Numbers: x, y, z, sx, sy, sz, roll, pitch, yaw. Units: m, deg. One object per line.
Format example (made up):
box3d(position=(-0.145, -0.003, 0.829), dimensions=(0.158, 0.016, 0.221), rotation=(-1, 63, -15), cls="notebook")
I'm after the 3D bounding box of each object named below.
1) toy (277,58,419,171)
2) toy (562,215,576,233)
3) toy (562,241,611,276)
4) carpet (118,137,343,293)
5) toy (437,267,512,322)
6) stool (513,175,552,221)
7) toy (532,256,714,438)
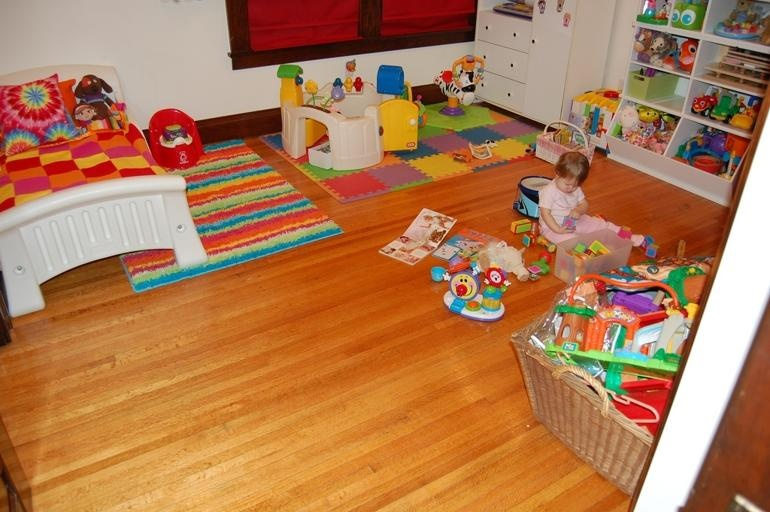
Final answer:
box3d(position=(-0.280, -1.308, 4.638), dimensions=(1.217, 0.718, 0.838), rotation=(-21, 37, -29), cls="toy")
box3d(position=(1.260, -0.224, 3.444), dimensions=(0.090, 0.109, 0.037), rotation=(3, -4, 26), cls="toy")
box3d(position=(1.279, -0.008, 3.160), dimensions=(0.260, 0.085, 0.186), rotation=(-18, 35, -27), cls="toy")
box3d(position=(-1.165, -0.286, 3.698), dimensions=(1.028, 0.017, 1.466), rotation=(-21, 38, -25), cls="carpet")
box3d(position=(0.531, 0.185, 3.011), dimensions=(0.404, 0.327, 0.247), rotation=(10, 20, 29), cls="toy")
box3d(position=(1.144, -0.447, 3.837), dimensions=(0.245, 0.227, 0.268), rotation=(-19, 26, -34), cls="stool")
box3d(position=(1.146, 0.429, 2.486), dimensions=(0.772, 0.468, 0.771), rotation=(22, 56, 30), cls="toy")
